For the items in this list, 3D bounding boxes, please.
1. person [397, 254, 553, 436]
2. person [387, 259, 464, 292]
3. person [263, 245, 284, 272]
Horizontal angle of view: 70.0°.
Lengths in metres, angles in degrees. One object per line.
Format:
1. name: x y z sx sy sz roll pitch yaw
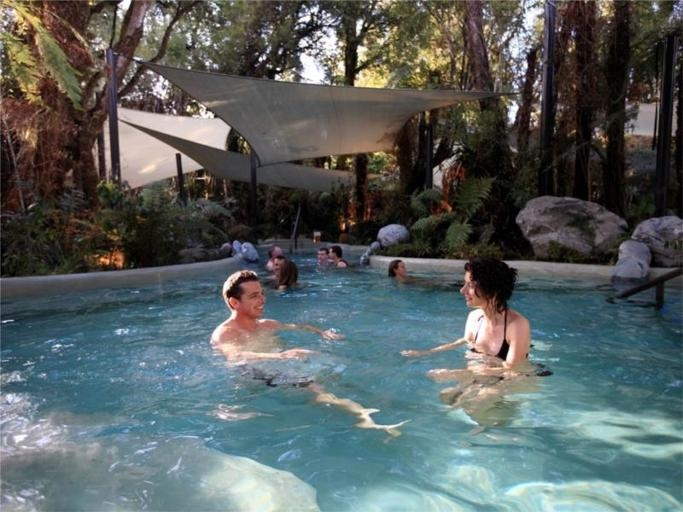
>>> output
1. person: 1.235 0.640 4.345 0.960 1.241 1.107 6 12 30
2. person: 1.518 0.320 9.432 1.552 0.707 0.530 -3 6 15
3. person: -1.418 0.013 10.318 0.537 0.256 0.720 -20 -7 -19
